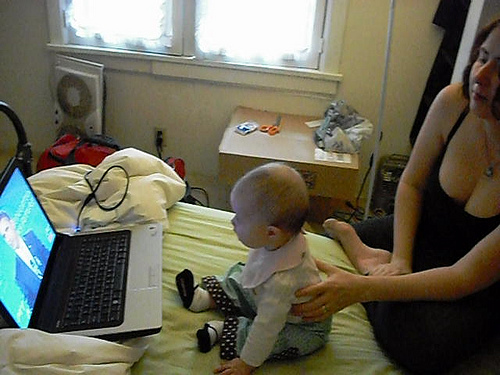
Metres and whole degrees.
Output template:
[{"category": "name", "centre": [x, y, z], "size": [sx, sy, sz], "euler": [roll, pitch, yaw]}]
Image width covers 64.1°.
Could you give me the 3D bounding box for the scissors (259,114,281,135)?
[{"category": "scissors", "centre": [0.134, -0.410, 2.585], "size": [0.129, 0.045, 0.317], "euler": [9, 25, 7]}]

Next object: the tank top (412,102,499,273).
[{"category": "tank top", "centre": [0.799, 0.024, 1.516], "size": [0.257, 0.616, 0.276], "euler": [16, 25, 24]}]

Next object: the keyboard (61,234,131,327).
[{"category": "keyboard", "centre": [-0.511, 0.290, 1.319], "size": [0.210, 0.437, 0.042], "euler": [1, 36, -34]}]
